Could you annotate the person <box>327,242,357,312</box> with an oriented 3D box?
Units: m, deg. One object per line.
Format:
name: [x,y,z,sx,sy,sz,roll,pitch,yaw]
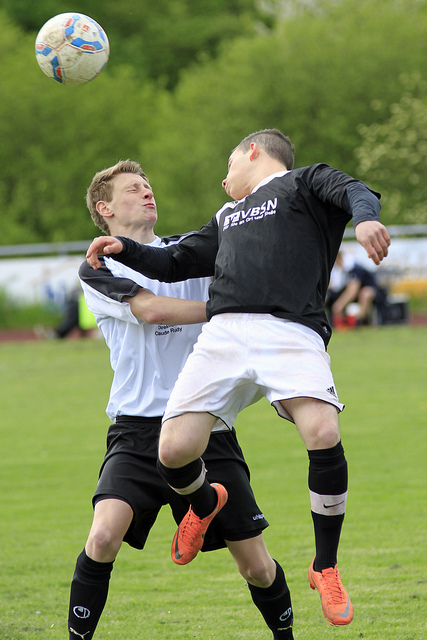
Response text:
person: [2.674,-0.899,17.630,0.651,1.402,0.451,6,3,-1]
